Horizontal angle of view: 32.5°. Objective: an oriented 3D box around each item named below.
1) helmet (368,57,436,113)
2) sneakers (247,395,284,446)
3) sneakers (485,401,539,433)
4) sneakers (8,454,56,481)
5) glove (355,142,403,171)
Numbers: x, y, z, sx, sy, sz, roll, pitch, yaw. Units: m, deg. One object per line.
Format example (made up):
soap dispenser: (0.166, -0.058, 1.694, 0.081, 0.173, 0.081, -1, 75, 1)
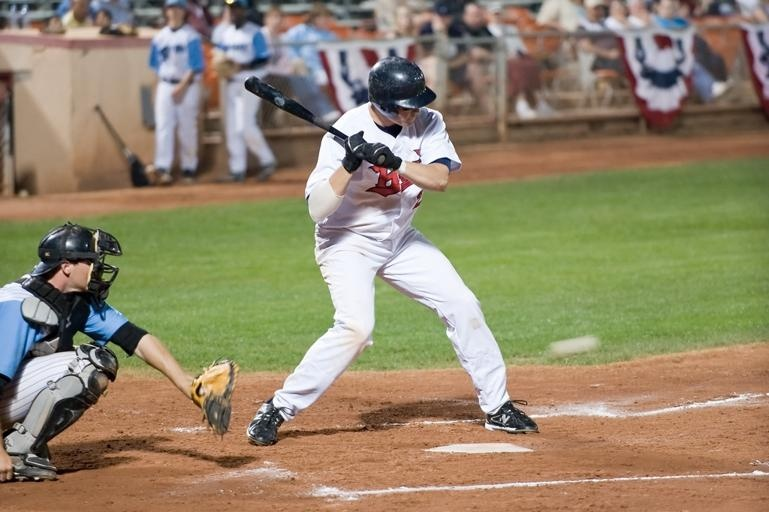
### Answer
helmet: (0.140, -1.404, 10.527, 0.466, 0.326, 0.621, -30, 41, -32)
sneakers: (-0.963, 1.348, 10.755, 0.234, 0.255, 0.618, 39, 13, -10)
sneakers: (1.019, 1.306, 10.781, 0.260, 0.216, 0.531, -11, 5, -36)
sneakers: (-2.716, 1.613, 10.088, 0.416, 0.158, 0.144, 1, 3, -3)
glove: (-0.042, -0.776, 10.262, 0.345, 0.215, 0.149, -6, 8, -43)
